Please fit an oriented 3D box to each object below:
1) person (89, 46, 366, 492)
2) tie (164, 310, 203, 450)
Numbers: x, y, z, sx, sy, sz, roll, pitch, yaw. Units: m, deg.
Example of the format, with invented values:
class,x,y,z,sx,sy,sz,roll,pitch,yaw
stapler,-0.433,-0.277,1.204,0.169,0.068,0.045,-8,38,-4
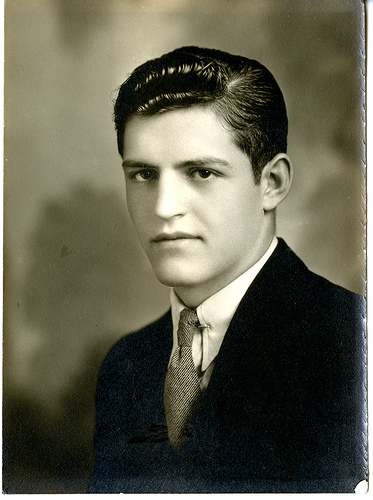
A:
class,x,y,z,sx,sy,sz,roll,pitch,yaw
person,0.087,0.041,1.312,0.562,0.941,0.181,1,3,15
tie,0.004,0.266,1.321,0.076,0.292,0.030,4,-22,16
